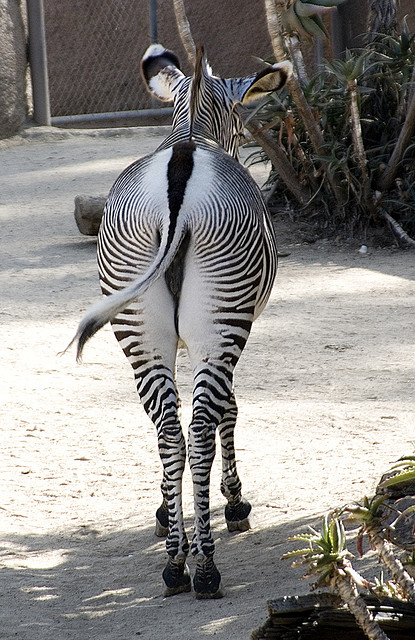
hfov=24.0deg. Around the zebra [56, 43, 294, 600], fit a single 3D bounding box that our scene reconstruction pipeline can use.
[{"bbox_3d":[-0.083,-0.042,3.237,0.591,1.478,1.276,6,20,3],"label":"zebra"}]
